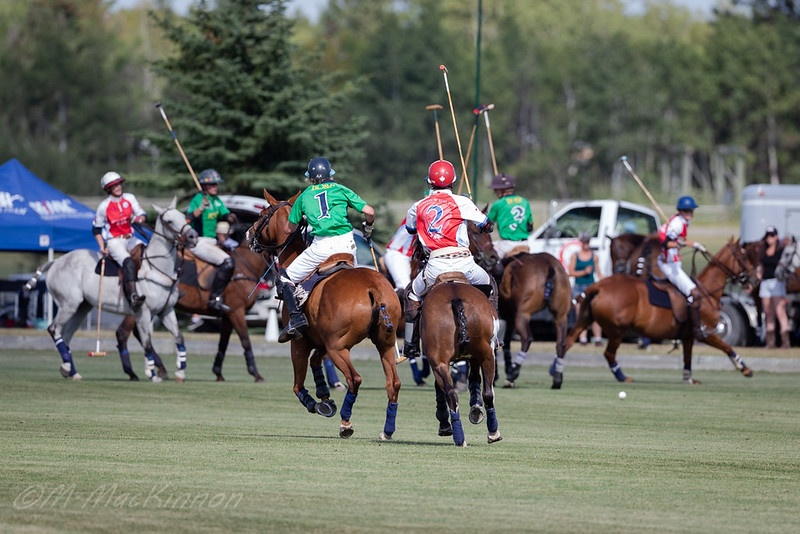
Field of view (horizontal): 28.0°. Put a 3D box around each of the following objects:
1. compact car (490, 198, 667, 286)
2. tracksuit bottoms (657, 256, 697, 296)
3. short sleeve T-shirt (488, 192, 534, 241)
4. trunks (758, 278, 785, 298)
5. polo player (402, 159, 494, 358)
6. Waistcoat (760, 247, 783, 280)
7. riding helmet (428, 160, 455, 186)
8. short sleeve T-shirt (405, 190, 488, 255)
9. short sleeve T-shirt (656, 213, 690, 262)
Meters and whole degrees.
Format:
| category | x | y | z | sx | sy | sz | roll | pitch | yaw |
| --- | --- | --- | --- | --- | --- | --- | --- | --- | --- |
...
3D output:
| category | x | y | z | sx | sy | sz | roll | pitch | yaw |
| --- | --- | --- | --- | --- | --- | --- | --- | --- | --- |
| compact car | 4.920 | -0.720 | 40.770 | 3.022 | 1.636 | 1.933 | 5 | 3 | 5 |
| tracksuit bottoms | 6.233 | 0.230 | 35.851 | 0.654 | 0.772 | 0.287 | -44 | -27 | 9 |
| short sleeve T-shirt | 2.488 | -1.007 | 36.706 | 1.269 | 1.355 | 0.979 | -1 | 12 | 10 |
| trunks | 9.362 | 0.578 | 40.077 | 0.772 | 0.533 | 0.469 | -1 | -8 | 8 |
| polo player | 1.022 | -0.141 | 31.010 | 2.051 | 3.774 | 1.821 | -1 | 4 | 12 |
| Waistcoat | 9.210 | -0.033 | 39.692 | 0.728 | 0.896 | 0.532 | 2 | -10 | 1 |
| riding helmet | 0.818 | -1.727 | 30.714 | 0.482 | 0.486 | 0.451 | 4 | -28 | -1 |
| short sleeve T-shirt | 0.834 | -0.833 | 30.306 | 1.107 | 1.337 | 0.479 | -8 | -10 | 3 |
| short sleeve T-shirt | 6.140 | -0.652 | 35.717 | 0.543 | 1.153 | 0.395 | 17 | 5 | 28 |
